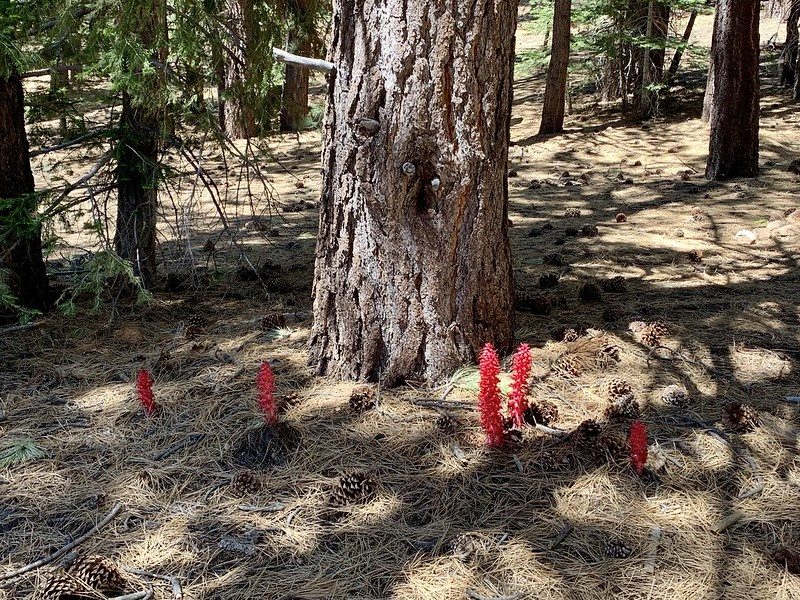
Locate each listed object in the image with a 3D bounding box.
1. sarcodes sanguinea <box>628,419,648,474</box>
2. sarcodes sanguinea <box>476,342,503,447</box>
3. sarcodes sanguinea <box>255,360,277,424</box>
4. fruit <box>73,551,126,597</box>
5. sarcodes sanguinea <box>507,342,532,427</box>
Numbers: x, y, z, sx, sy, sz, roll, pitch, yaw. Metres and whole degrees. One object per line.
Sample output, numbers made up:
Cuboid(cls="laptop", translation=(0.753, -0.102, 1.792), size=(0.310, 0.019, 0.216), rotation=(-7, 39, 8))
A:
Cuboid(cls="sarcodes sanguinea", translation=(1.351, 0.797, 5.012), size=(0.110, 0.328, 0.235), rotation=(1, 17, 15))
Cuboid(cls="sarcodes sanguinea", translation=(0.526, 0.537, 5.129), size=(0.144, 0.625, 0.181), rotation=(-2, 16, 7))
Cuboid(cls="sarcodes sanguinea", translation=(-0.792, 0.537, 5.207), size=(0.091, 0.425, 0.193), rotation=(-7, 16, -14))
Cuboid(cls="fruit", translation=(-1.560, 1.411, 4.653), size=(0.239, 0.140, 0.161), rotation=(33, 8, -2))
Cuboid(cls="sarcodes sanguinea", translation=(0.691, 0.497, 5.161), size=(0.129, 0.531, 0.142), rotation=(-2, 16, 5))
